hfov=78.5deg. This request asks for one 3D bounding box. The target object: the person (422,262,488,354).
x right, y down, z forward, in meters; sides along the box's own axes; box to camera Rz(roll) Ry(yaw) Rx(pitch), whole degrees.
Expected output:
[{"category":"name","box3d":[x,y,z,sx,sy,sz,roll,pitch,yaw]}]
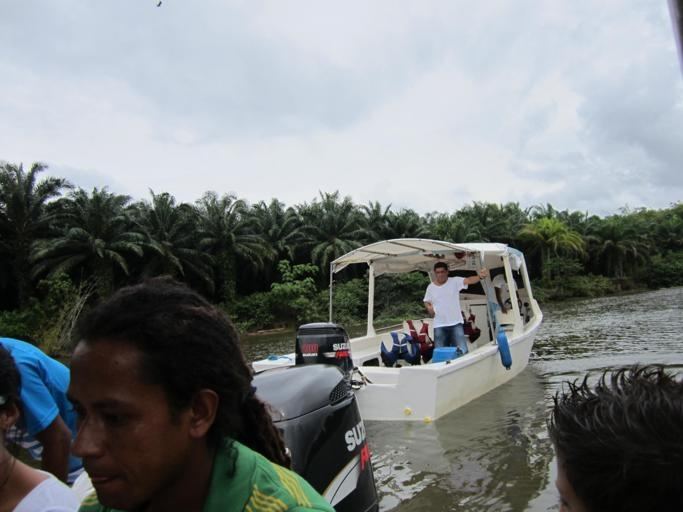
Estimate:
[{"category":"person","box3d":[1.858,0.906,7.359,0.765,1.284,0.495,-4,-2,11]}]

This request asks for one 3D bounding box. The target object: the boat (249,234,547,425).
[{"category":"boat","box3d":[1.938,0.951,8.173,2.780,2.515,6.466,-7,-7,29]}]
